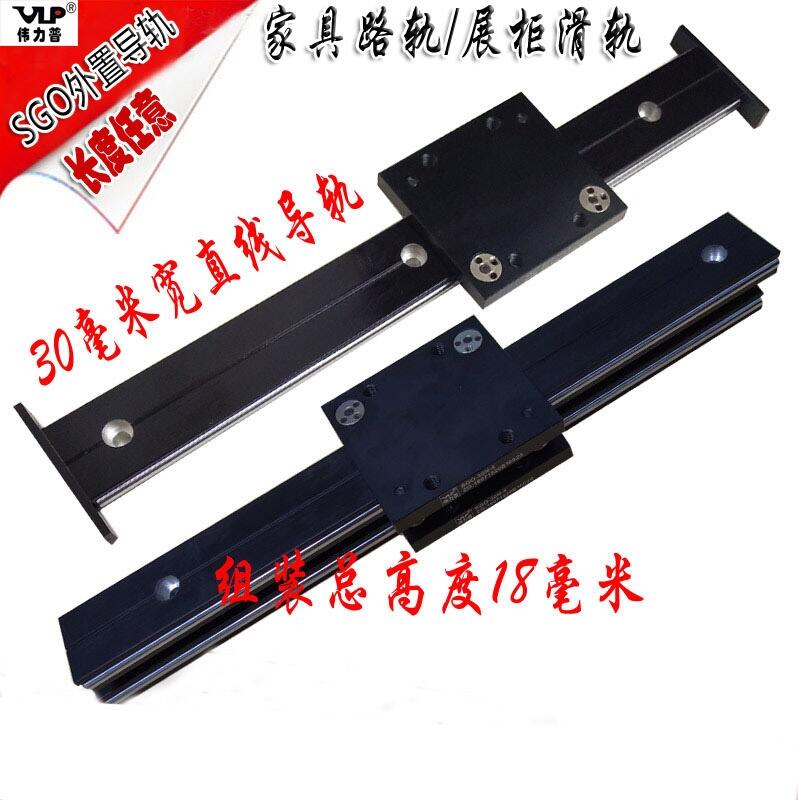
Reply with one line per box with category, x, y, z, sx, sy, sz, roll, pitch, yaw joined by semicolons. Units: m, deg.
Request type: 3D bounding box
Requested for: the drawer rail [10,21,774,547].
drawer rail;-0.019;-0.382;3.245;3.355;0.927;0.265;-31;-19;-11
